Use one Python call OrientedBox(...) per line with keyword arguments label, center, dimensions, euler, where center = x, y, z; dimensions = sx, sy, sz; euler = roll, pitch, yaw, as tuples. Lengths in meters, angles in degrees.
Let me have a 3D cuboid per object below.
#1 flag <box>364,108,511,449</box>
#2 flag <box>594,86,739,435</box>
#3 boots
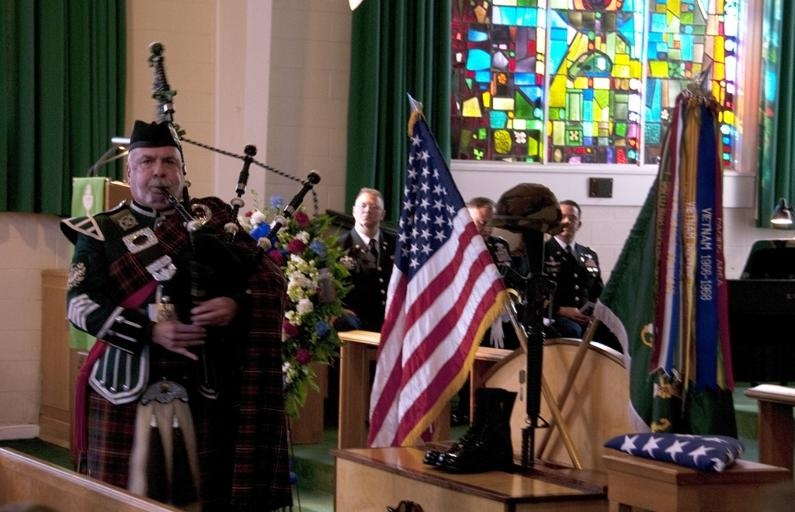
OrientedBox(label="flag", center=(0.178, 0.092, 4.748), dimensions=(0.373, 1.787, 0.659), euler=(1, 2, -40))
OrientedBox(label="flag", center=(1.342, 0.010, 4.696), dimensions=(0.669, 1.285, 0.282), euler=(2, 1, -5))
OrientedBox(label="boots", center=(0.392, 0.838, 4.410), dimensions=(0.545, 0.429, 0.250), euler=(4, -4, -19))
